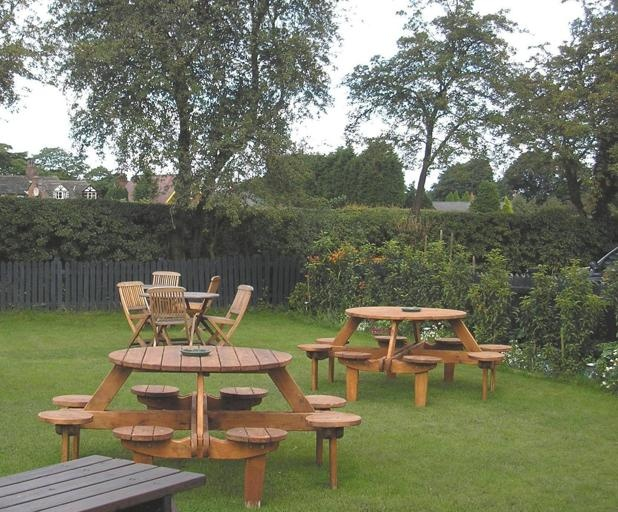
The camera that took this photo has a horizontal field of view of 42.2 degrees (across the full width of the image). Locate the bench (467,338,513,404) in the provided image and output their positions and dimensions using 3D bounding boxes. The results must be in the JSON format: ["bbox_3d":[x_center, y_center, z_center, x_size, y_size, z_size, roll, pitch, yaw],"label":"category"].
[{"bbox_3d":[2.734,1.755,12.358,0.546,0.715,1.292,5,11,22],"label":"bench"}]

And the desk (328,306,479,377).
[{"bbox_3d":[1.479,1.227,12.449,1.377,0.778,1.485,2,7,9],"label":"desk"}]
